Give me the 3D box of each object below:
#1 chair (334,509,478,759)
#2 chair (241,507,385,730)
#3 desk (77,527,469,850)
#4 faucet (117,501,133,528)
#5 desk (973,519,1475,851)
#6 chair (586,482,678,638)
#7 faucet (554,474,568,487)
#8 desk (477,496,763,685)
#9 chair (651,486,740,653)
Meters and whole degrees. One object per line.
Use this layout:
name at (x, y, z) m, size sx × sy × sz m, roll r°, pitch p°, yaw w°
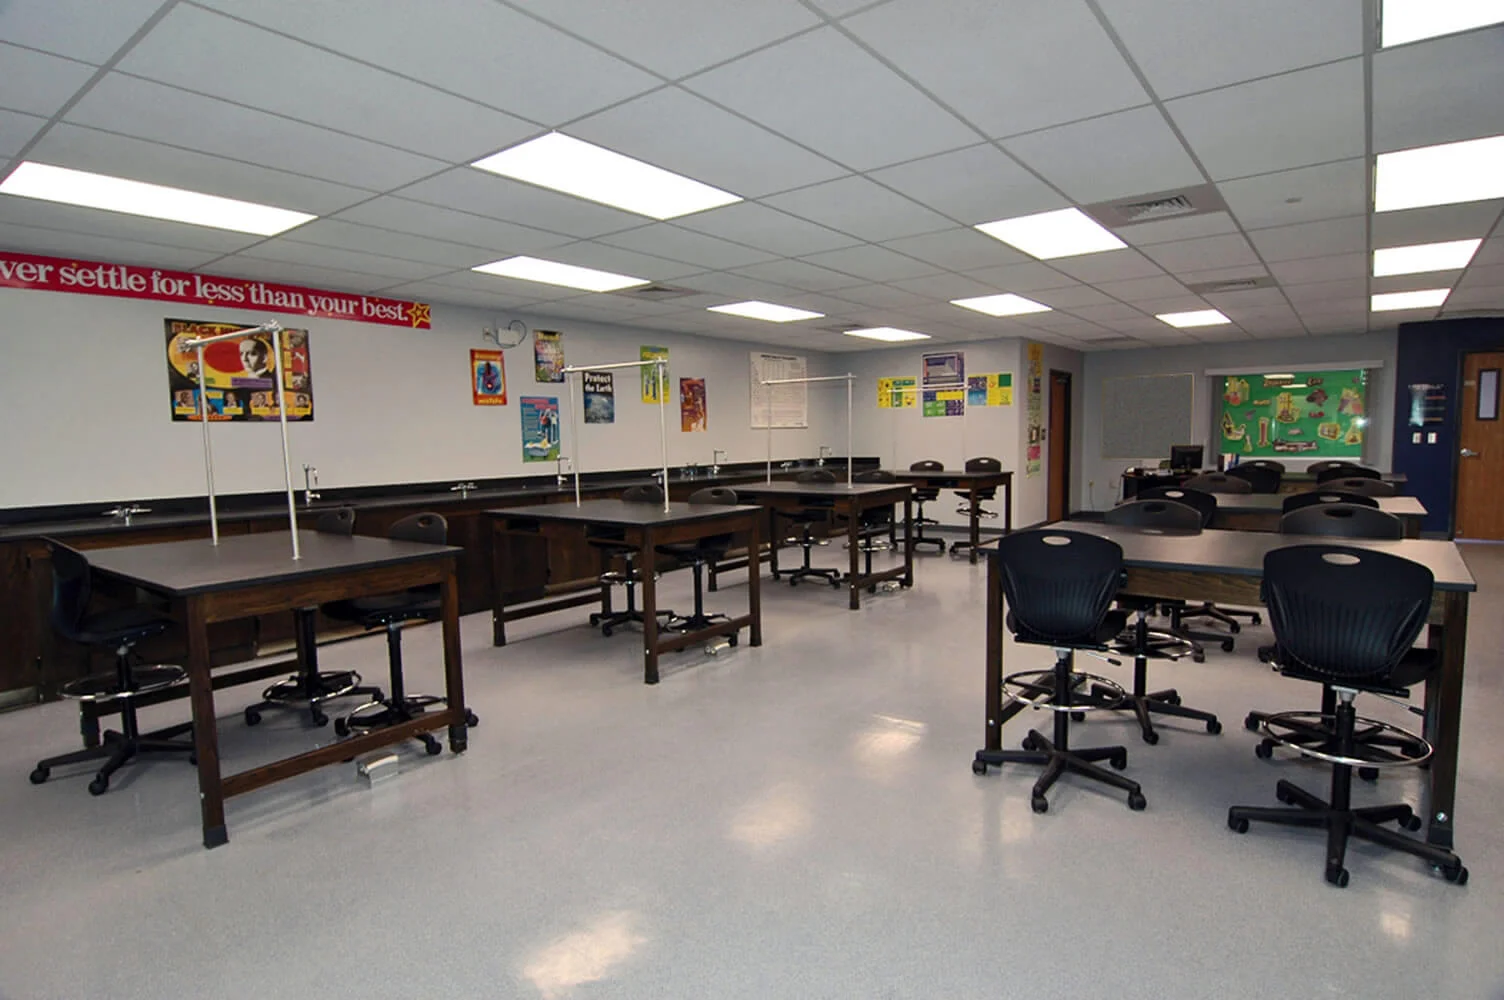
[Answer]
chair at (-2.169, 0.750, 5.631) m, size 0.956 × 1.339 × 0.862 m, roll -11°, pitch -3°, yaw -9°
chair at (-2.723, 0.739, 5.822) m, size 0.729 × 1.067 × 0.705 m, roll 8°, pitch 11°, yaw 27°
desk at (-2.567, 0.551, 5.336) m, size 2.807 × 1.271 × 1.525 m, roll 4°, pitch 7°, yaw 36°
faucet at (-4.449, 0.083, 6.613) m, size 0.126 × 0.096 × 0.241 m, roll -6°, pitch 6°, yaw -33°
desk at (2.427, 1.024, 4.373) m, size 1.539 × 0.760 × 1.116 m, roll 2°, pitch 3°, yaw -37°
chair at (-0.978, 0.454, 7.477) m, size 0.774 × 1.113 × 0.693 m, roll -6°, pitch 5°, yaw -32°
faucet at (-1.844, -0.184, 9.099) m, size 0.116 × 0.150 × 0.161 m, roll 2°, pitch 6°, yaw 24°
desk at (-0.760, 0.580, 7.001) m, size 1.359 × 1.155 × 1.307 m, roll 2°, pitch 7°, yaw 39°
chair at (-0.434, 0.462, 7.229) m, size 0.703 × 1.040 × 0.636 m, roll -8°, pitch 9°, yaw -36°
